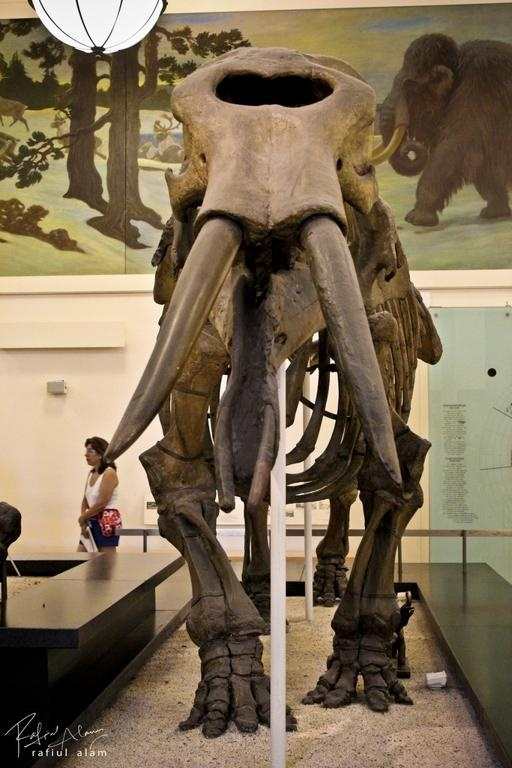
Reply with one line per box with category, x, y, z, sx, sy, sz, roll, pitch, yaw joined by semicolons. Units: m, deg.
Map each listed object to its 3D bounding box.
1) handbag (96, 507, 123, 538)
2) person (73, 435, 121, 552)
handbag;-1.107;1.041;5.626;0.162;0.239;0.235;-2;10;-12
person;-1.176;0.950;5.616;0.307;1.006;0.994;-2;10;-13
